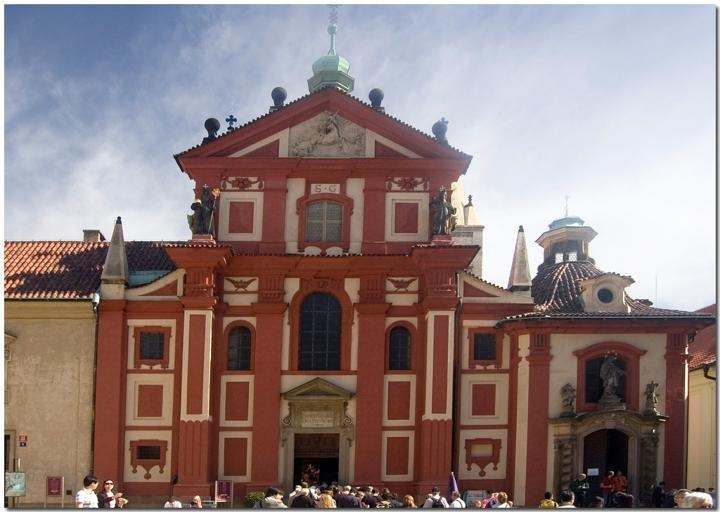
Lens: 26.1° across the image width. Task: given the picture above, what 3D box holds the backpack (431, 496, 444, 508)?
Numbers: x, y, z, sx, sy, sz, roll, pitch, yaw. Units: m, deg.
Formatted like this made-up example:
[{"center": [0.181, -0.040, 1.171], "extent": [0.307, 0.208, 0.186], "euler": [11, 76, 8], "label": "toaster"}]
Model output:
[{"center": [2.743, 8.467, 53.931], "extent": [0.420, 0.334, 0.301], "euler": [4, 16, -14], "label": "backpack"}]

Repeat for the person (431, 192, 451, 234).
[{"center": [3.148, -1.685, 60.977], "extent": [0.941, 1.875, 0.533], "euler": [-11, -18, 32], "label": "person"}]

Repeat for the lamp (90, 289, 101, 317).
[{"center": [-10.175, 1.806, 60.380], "extent": [0.244, 0.732, 0.547], "euler": [4, -1, 13], "label": "lamp"}]

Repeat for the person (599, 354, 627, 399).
[{"center": [9.696, 4.585, 59.705], "extent": [0.672, 1.824, 0.857], "euler": [-15, -21, 41], "label": "person"}]

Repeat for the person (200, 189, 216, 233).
[{"center": [-5.878, -1.823, 60.965], "extent": [0.604, 1.903, 0.428], "euler": [13, -21, -42], "label": "person"}]
